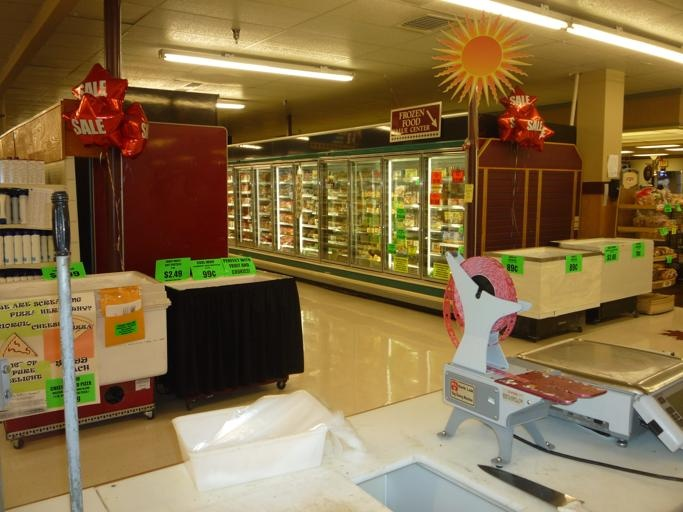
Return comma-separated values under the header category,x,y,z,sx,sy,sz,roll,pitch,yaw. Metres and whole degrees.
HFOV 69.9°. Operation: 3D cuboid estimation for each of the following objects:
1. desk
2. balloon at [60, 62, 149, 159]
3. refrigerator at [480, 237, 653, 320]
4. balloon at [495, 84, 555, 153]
category,x,y,z,sx,sy,sz,roll,pitch,yaw
desk,-1.114,0.597,4.961,1.586,1.285,1.070,-3,5,-34
balloon,-2.230,-1.377,4.664,0.678,0.845,0.282,-3,14,-21
refrigerator,3.189,0.268,6.575,2.386,0.855,0.558,-5,15,-30
balloon,2.486,-1.867,6.720,0.837,0.756,0.256,-3,14,-22
